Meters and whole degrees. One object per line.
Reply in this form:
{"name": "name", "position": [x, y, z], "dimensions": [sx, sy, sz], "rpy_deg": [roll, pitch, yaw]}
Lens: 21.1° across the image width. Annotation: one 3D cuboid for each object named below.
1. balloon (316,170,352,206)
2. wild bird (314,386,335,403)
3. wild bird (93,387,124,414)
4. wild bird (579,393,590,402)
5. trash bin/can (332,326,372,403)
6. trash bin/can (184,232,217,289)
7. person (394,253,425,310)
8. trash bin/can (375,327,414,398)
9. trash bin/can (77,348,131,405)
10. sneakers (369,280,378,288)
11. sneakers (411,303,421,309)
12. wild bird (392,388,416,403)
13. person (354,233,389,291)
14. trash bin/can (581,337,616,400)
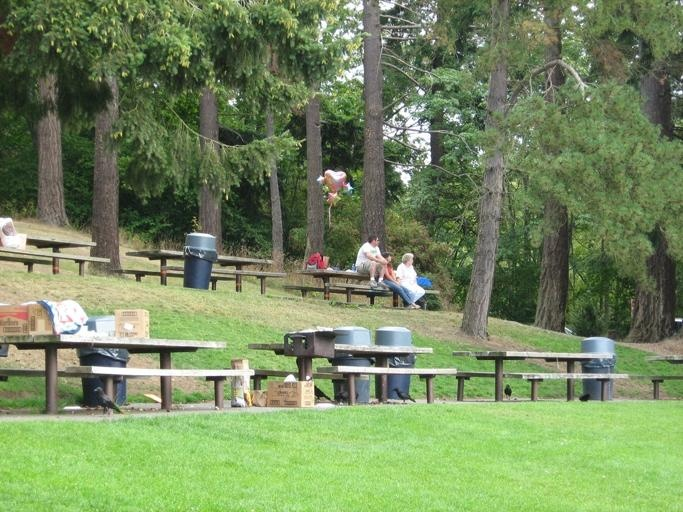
{"name": "balloon", "position": [-0.196, -2.055, 58.799], "dimensions": [1.000, 1.084, 0.954], "rpy_deg": [6, 24, -13]}
{"name": "wild bird", "position": [-0.421, 3.256, 42.465], "dimensions": [0.654, 0.282, 0.208], "rpy_deg": [-3, -3, 38]}
{"name": "wild bird", "position": [-5.011, 3.205, 39.944], "dimensions": [0.729, 0.801, 0.341], "rpy_deg": [5, -15, -37]}
{"name": "wild bird", "position": [5.891, 3.445, 44.184], "dimensions": [0.210, 0.220, 0.174], "rpy_deg": [6, -4, 19]}
{"name": "trash bin/can", "position": [0.284, 2.549, 42.930], "dimensions": [0.717, 1.789, 0.836], "rpy_deg": [0, 1, -28]}
{"name": "trash bin/can", "position": [-3.740, 0.233, 48.925], "dimensions": [0.897, 1.480, 1.003], "rpy_deg": [2, -4, -6]}
{"name": "person", "position": [1.936, 0.723, 51.593], "dimensions": [0.705, 1.648, 0.641], "rpy_deg": [2, 2, 32]}
{"name": "trash bin/can", "position": [1.297, 2.543, 43.594], "dimensions": [1.205, 1.664, 1.294], "rpy_deg": [1, 4, 10]}
{"name": "trash bin/can", "position": [-5.240, 2.757, 40.884], "dimensions": [1.015, 1.295, 1.119], "rpy_deg": [1, 0, -40]}
{"name": "sneakers", "position": [0.925, 0.860, 50.957], "dimensions": [0.163, 0.184, 0.402], "rpy_deg": [-1, -5, -12]}
{"name": "sneakers", "position": [2.103, 1.484, 51.412], "dimensions": [0.293, 0.142, 0.114], "rpy_deg": [-1, -1, 18]}
{"name": "wild bird", "position": [1.431, 3.276, 42.677], "dimensions": [0.675, 0.469, 0.241], "rpy_deg": [1, -10, -28]}
{"name": "person", "position": [0.863, 0.258, 51.174], "dimensions": [0.677, 1.500, 0.655], "rpy_deg": [3, 1, 6]}
{"name": "trash bin/can", "position": [6.338, 2.774, 45.323], "dimensions": [0.754, 1.590, 0.671], "rpy_deg": [-2, -1, 45]}
